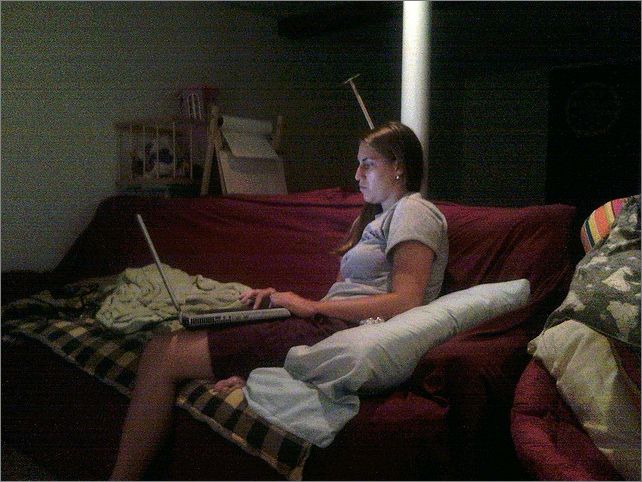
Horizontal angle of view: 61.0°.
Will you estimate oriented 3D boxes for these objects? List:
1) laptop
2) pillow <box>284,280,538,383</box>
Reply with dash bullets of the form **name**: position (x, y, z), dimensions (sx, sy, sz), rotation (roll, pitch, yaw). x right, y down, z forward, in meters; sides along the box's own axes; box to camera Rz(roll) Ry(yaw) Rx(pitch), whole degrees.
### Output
- **laptop**: position (-0.372, 0.100, 1.819), dimensions (0.463, 0.271, 0.393), rotation (-1, -2, -17)
- **pillow**: position (0.342, 0.287, 1.698), dimensions (0.842, 0.157, 0.282), rotation (-14, 0, -27)
